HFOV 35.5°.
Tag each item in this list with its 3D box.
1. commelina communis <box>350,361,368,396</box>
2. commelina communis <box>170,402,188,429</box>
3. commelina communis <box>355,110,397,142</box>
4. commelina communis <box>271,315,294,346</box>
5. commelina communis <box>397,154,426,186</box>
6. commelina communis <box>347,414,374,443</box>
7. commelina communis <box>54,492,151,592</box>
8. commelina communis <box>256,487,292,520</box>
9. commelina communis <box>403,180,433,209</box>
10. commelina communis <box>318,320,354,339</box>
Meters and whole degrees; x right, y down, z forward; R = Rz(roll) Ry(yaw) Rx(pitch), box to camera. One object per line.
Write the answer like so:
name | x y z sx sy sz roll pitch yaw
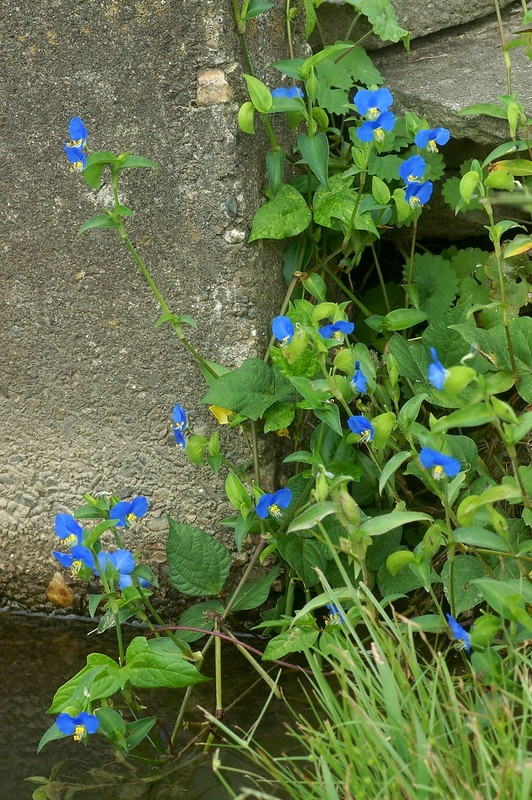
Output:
commelina communis | 0.170 -0.033 1.488 0.042 0.048 0.020 -3 8 35
commelina communis | -0.167 0.035 1.651 0.021 0.056 0.043 1 45 26
commelina communis | 0.221 -0.545 1.672 0.076 0.059 0.079 -8 22 9
commelina communis | 0.030 -0.115 1.400 0.043 0.046 0.011 -4 23 4
commelina communis | 0.300 -0.471 1.703 0.050 0.058 0.062 -8 23 11
commelina communis | 0.168 0.051 1.453 0.040 0.059 0.033 -2 26 24
commelina communis | -0.281 0.241 1.456 0.177 0.172 0.089 -13 9 10
commelina communis | 0.015 0.205 1.593 0.063 0.060 0.028 -24 20 -14
commelina communis | 0.322 -0.430 1.741 0.058 0.056 0.031 10 15 -8
commelina communis | 0.127 -0.136 1.561 0.051 0.052 0.015 -36 44 33
